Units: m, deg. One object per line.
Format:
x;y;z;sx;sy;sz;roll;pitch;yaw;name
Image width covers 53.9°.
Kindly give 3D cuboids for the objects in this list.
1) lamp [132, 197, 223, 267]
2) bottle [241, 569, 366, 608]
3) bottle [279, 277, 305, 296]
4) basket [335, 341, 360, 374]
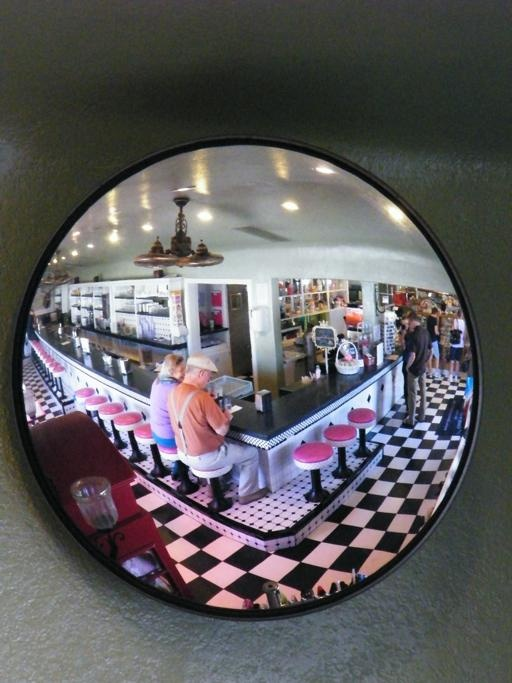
-0.148;-0.215;0.981;0.167;0.121;0.172;13;15;42;lamp
0.086;0.510;1.044;0.221;0.085;0.019;-14;47;1;bottle
0.064;-0.102;0.955;0.045;0.029;0.022;-2;19;2;bottle
0.186;0.031;1.034;0.058;0.078;0.056;1;21;9;basket
